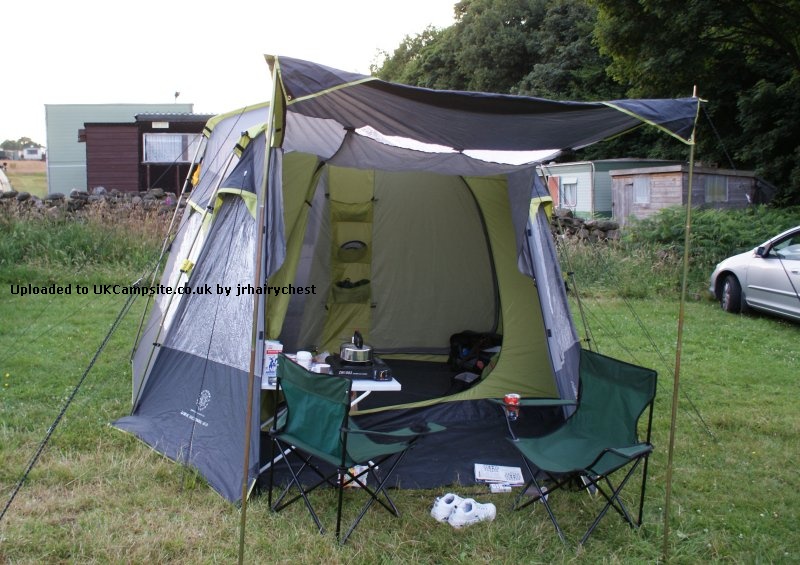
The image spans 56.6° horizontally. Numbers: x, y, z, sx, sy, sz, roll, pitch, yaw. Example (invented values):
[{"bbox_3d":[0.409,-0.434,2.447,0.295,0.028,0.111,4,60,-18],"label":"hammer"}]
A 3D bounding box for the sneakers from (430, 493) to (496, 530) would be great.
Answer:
[{"bbox_3d":[0.546,1.935,6.323,0.353,0.134,0.265,-1,3,-37],"label":"sneakers"}]

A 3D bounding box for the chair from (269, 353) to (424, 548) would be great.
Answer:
[{"bbox_3d":[-0.383,1.419,6.595,1.367,1.540,1.369,7,11,18],"label":"chair"}]

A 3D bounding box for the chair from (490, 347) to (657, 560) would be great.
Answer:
[{"bbox_3d":[1.543,1.465,6.455,0.843,1.511,1.378,-2,10,-24],"label":"chair"}]

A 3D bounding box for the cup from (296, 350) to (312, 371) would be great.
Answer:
[{"bbox_3d":[-0.918,0.747,7.179,0.143,0.147,0.152,1,0,0],"label":"cup"}]

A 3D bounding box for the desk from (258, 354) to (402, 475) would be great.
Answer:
[{"bbox_3d":[-0.547,1.041,7.164,1.007,1.093,1.092,4,9,8],"label":"desk"}]

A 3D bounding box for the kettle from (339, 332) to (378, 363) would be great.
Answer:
[{"bbox_3d":[-0.441,0.631,7.457,0.284,0.292,0.303,2,0,-12],"label":"kettle"}]
